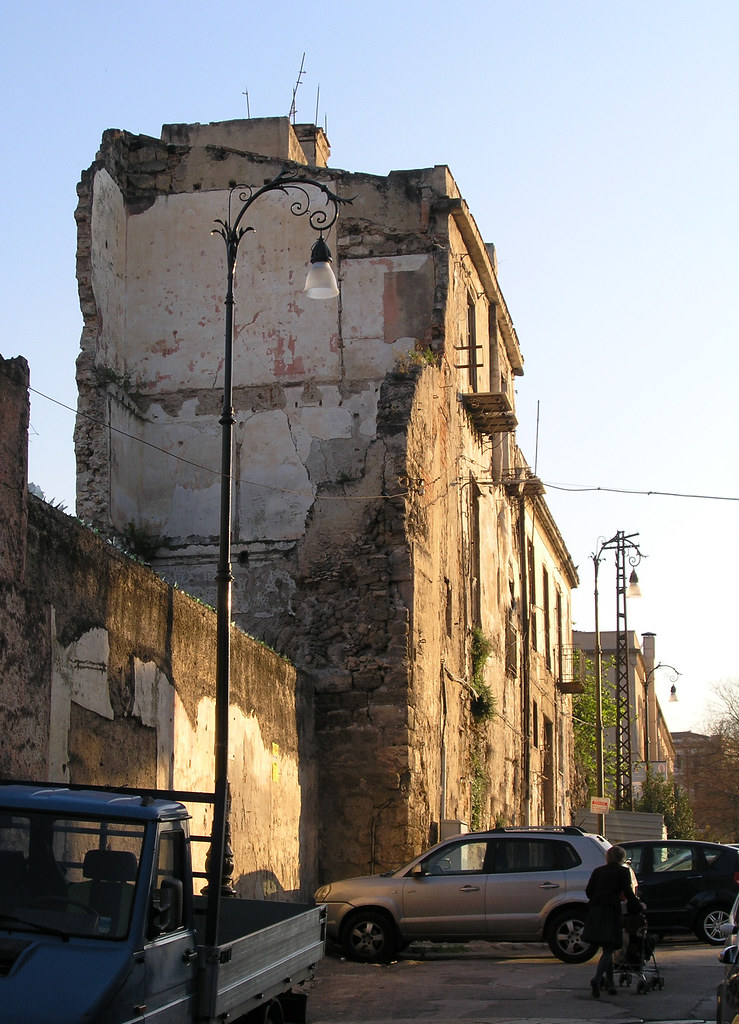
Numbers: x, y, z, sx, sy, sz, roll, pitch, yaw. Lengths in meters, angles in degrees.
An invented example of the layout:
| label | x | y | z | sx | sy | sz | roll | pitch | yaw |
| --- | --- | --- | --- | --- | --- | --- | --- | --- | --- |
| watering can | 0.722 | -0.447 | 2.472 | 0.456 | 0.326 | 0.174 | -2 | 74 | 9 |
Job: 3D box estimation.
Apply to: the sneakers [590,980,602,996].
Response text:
| label | x | y | z | sx | sy | sz | roll | pitch | yaw |
| --- | --- | --- | --- | --- | --- | --- | --- | --- | --- |
| sneakers | 1.886 | 3.946 | 15.637 | 0.096 | 0.185 | 0.384 | -3 | -11 | 6 |

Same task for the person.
| label | x | y | z | sx | sy | sz | roll | pitch | yaw |
| --- | --- | --- | --- | --- | --- | --- | --- | --- | --- |
| person | 2.020 | 3.484 | 16.006 | 0.392 | 1.216 | 0.964 | -5 | -10 | 21 |

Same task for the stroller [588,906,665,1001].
| label | x | y | z | sx | sy | sz | roll | pitch | yaw |
| --- | --- | --- | --- | --- | --- | --- | --- | --- | --- |
| stroller | 2.271 | 3.821 | 16.194 | 0.542 | 1.058 | 0.752 | -6 | -13 | 28 |

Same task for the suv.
| label | x | y | z | sx | sy | sz | roll | pitch | yaw |
| --- | --- | --- | --- | --- | --- | --- | --- | --- | --- |
| suv | 0.927 | 3.869 | 19.166 | 2.689 | 1.541 | 1.454 | 1 | -8 | 10 |
